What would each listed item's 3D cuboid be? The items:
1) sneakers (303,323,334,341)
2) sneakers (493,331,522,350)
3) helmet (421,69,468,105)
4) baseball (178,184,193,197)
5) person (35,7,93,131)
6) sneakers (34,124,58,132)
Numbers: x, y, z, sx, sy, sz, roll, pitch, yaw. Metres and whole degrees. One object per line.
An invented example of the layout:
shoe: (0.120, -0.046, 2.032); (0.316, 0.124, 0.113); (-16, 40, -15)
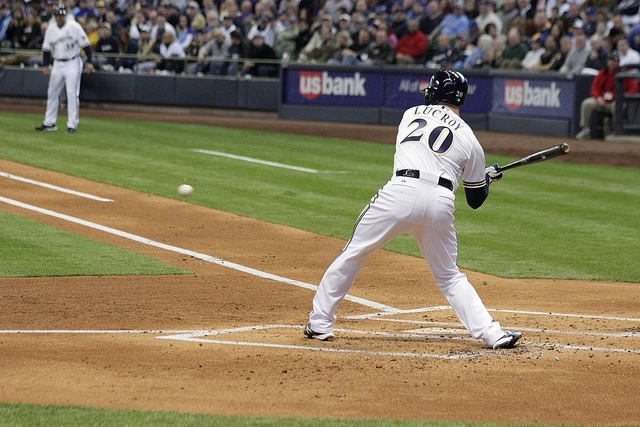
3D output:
sneakers: (-0.032, 1.390, 11.107); (0.398, 0.170, 0.149); (1, 3, 35)
sneakers: (2.137, 1.464, 10.925); (0.414, 0.138, 0.178); (-22, -22, -2)
helmet: (1.482, -1.449, 11.121); (0.488, 0.415, 0.358); (20, 12, 25)
baseball: (-2.183, -0.377, 15.557); (0.210, 0.146, 0.200); (4, 4, -14)
person: (-5.043, -2.835, 18.788); (0.917, 2.478, 0.447); (2, 6, -5)
sneakers: (-5.413, -1.707, 18.984); (0.458, 0.183, 0.158); (3, 6, -5)
